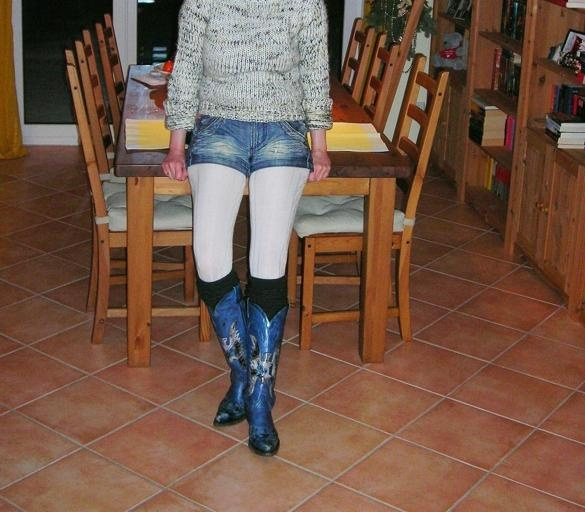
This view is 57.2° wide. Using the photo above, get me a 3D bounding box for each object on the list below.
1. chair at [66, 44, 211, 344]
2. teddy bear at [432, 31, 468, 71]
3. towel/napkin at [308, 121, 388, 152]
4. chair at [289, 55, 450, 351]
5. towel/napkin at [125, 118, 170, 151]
[{"bbox_3d":[-0.632,-0.253,2.260,0.633,1.140,0.585,-2,18,-25],"label":"chair"},{"bbox_3d":[1.305,-1.669,4.344,0.299,0.286,0.203,23,44,38],"label":"teddy bear"},{"bbox_3d":[0.243,-0.456,2.071,0.187,0.022,0.284,0,31,-5],"label":"towel/napkin"},{"bbox_3d":[0.167,-0.227,2.355,0.864,1.118,0.786,1,11,-3],"label":"chair"},{"bbox_3d":[-0.537,-0.441,1.961,0.223,0.026,0.180,-1,41,-9],"label":"towel/napkin"}]
